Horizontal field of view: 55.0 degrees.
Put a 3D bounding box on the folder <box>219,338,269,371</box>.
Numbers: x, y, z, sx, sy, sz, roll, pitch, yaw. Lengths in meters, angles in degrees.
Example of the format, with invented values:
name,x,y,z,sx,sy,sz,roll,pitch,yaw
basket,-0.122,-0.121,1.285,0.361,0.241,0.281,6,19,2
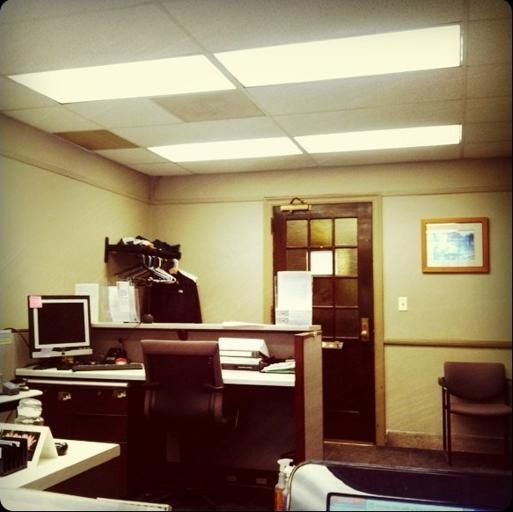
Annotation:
name,x,y,z,sx,sy,sz,roll,pitch,yaw
folder,-0.086,0.626,3.195,0.265,0.155,0.261,-1,-5,9

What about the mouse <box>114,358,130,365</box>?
name,x,y,z,sx,sy,sz,roll,pitch,yaw
mouse,-0.928,0.725,3.382,0.056,0.033,0.055,1,-6,9

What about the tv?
name,x,y,z,sx,sy,sz,roll,pitch,yaw
tv,-1.357,0.521,3.378,0.498,0.552,0.198,0,-7,-39

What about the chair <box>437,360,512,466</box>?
name,x,y,z,sx,sy,sz,roll,pitch,yaw
chair,1.773,1.274,3.956,0.562,0.839,0.639,-1,-1,20

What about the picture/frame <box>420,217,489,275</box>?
name,x,y,z,sx,sy,sz,roll,pitch,yaw
picture/frame,1.808,-0.081,4.423,0.545,0.489,0.040,0,-5,16

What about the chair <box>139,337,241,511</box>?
name,x,y,z,sx,sy,sz,roll,pitch,yaw
chair,-0.388,0.976,2.904,0.542,0.728,0.665,-1,-1,-12

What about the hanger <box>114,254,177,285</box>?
name,x,y,z,sx,sy,sz,roll,pitch,yaw
hanger,-1.000,0.110,4.585,0.288,0.162,0.399,5,2,22

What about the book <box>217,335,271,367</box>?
name,x,y,z,sx,sy,sz,roll,pitch,yaw
book,-0.097,0.618,3.206,0.250,0.114,0.244,0,-4,10
